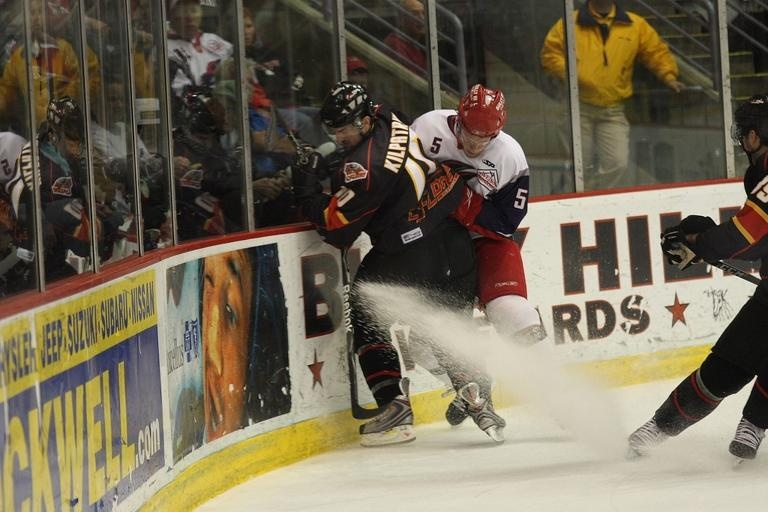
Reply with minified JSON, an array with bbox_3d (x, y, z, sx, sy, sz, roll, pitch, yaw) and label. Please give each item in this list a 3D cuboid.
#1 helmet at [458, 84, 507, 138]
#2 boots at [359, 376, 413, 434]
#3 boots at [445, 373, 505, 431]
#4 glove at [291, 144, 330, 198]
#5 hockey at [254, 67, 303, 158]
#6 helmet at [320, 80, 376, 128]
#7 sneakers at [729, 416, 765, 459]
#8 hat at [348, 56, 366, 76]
[{"bbox_3d":[0.599,-0.874,7.297,0.264,0.307,0.293,15,30,0],"label":"helmet"},{"bbox_3d":[0.059,0.949,7.453,0.418,0.324,0.146,-11,-13,42],"label":"boots"},{"bbox_3d":[0.542,0.928,7.514,0.240,0.159,0.375,-33,12,-18],"label":"boots"},{"bbox_3d":[-0.446,-0.547,7.482,0.260,0.296,0.331,-1,21,-9],"label":"glove"},{"bbox_3d":[-0.715,-0.885,7.487,0.183,0.467,0.372,-5,-2,25],"label":"hockey"},{"bbox_3d":[-0.229,-0.883,7.274,0.303,0.274,0.260,-28,16,-28],"label":"helmet"},{"bbox_3d":[2.116,1.067,7.045,0.272,0.213,0.160,-9,2,-30],"label":"sneakers"},{"bbox_3d":[-0.180,-1.222,7.801,0.132,0.110,0.095,-14,12,-3],"label":"hat"}]
